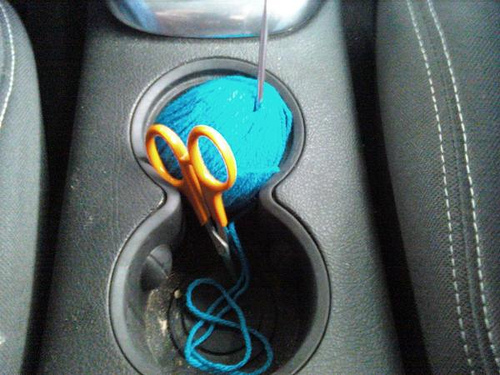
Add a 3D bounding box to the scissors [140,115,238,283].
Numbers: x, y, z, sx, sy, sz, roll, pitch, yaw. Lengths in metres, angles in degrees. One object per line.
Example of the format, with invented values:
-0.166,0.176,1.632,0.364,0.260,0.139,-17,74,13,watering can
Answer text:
-0.075,-0.005,0.694,0.169,0.188,0.152,27,64,16,scissors
